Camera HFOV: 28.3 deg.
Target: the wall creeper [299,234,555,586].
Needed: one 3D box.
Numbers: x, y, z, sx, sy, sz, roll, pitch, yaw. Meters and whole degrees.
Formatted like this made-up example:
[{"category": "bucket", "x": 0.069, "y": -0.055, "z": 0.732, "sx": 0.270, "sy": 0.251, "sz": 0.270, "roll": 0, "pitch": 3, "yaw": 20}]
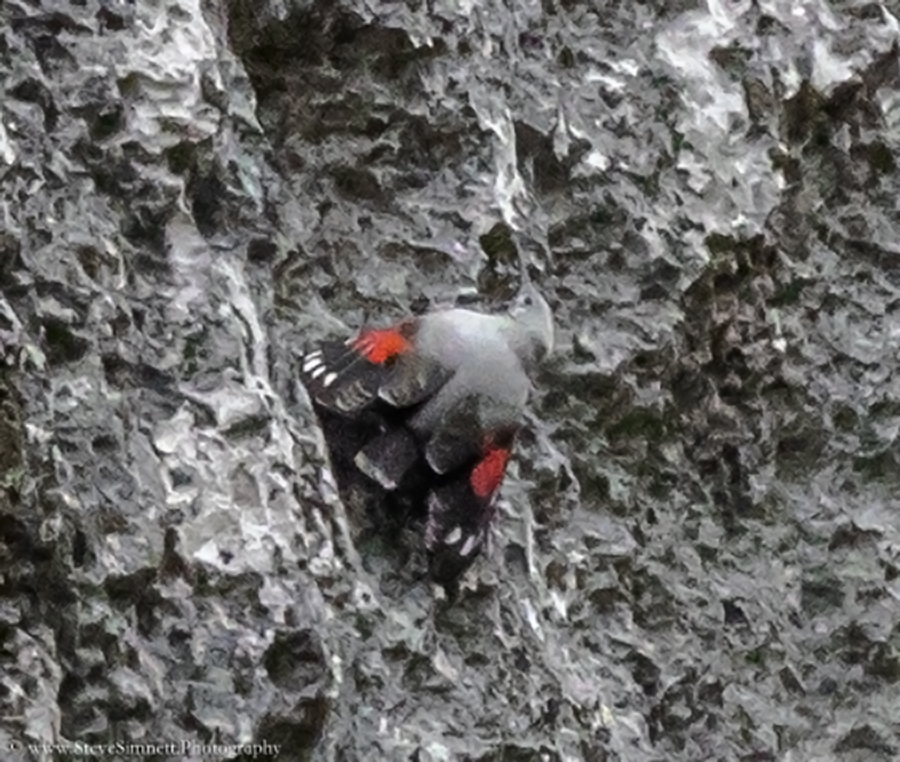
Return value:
[{"category": "wall creeper", "x": -0.133, "y": 0.122, "z": 8.928, "sx": 0.998, "sy": 0.850, "sz": 1.314, "roll": 38, "pitch": 77, "yaw": -11}]
